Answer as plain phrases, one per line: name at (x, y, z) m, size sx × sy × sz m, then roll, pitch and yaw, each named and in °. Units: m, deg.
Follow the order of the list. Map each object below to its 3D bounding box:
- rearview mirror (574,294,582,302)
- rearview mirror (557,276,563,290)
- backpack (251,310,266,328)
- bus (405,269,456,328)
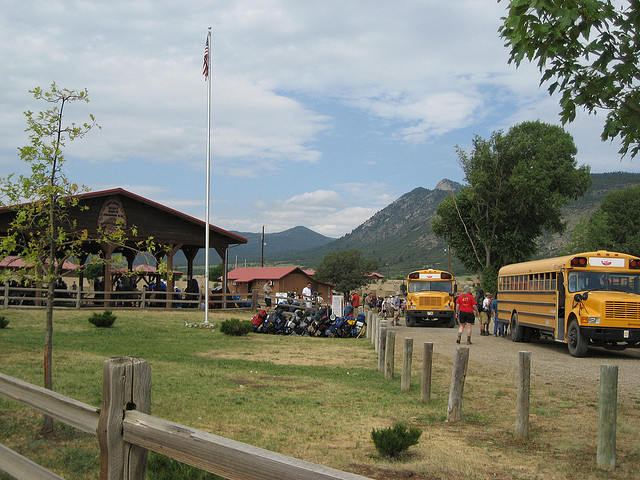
rearview mirror at (8.611, 1.905, 19.729) m, size 0.286 × 0.251 × 0.211 m, roll -4°, pitch -6°, yaw 40°
rearview mirror at (8.361, 1.461, 20.667) m, size 0.077 × 0.460 × 0.245 m, roll 3°, pitch -5°, yaw -24°
backpack at (-2.727, 3.583, 26.809) m, size 0.733 × 0.291 × 0.442 m, roll -42°, pitch 19°, yaw -11°
bus at (6.653, 3.446, 36.394) m, size 3.042 × 3.567 × 5.948 m, roll 0°, pitch -3°, yaw 8°
